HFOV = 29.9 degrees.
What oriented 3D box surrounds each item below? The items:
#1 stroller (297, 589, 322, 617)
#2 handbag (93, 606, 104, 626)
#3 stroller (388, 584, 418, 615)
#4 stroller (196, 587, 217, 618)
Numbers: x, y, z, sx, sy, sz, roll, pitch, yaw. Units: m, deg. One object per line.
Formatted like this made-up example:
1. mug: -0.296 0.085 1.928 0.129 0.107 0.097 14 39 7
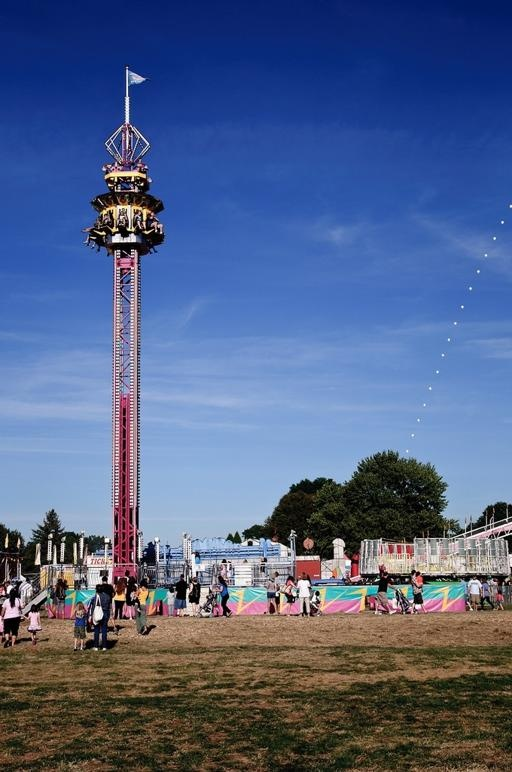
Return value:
1. stroller: 2.080 8.270 36.809 0.613 0.970 0.640 15 -14 -21
2. handbag: -4.033 5.891 24.833 0.192 0.360 0.454 16 6 -31
3. stroller: 5.507 8.163 36.867 0.832 0.981 1.130 -5 -10 20
4. stroller: -1.800 8.267 36.798 0.393 0.936 0.686 24 -23 -9
